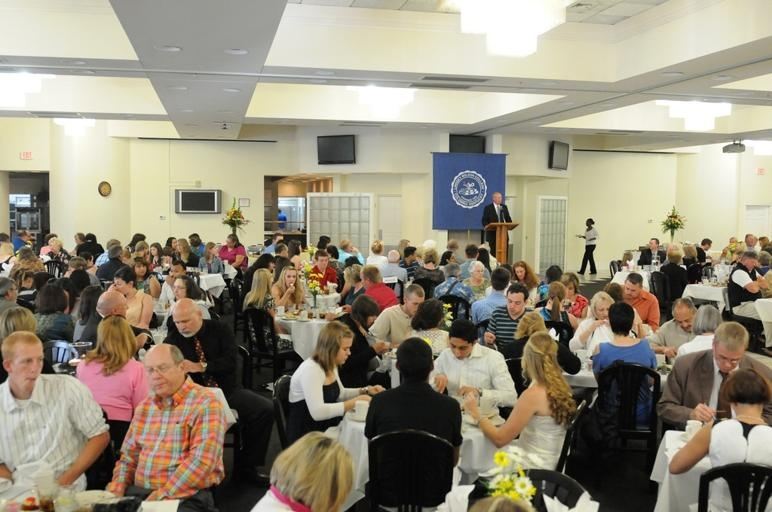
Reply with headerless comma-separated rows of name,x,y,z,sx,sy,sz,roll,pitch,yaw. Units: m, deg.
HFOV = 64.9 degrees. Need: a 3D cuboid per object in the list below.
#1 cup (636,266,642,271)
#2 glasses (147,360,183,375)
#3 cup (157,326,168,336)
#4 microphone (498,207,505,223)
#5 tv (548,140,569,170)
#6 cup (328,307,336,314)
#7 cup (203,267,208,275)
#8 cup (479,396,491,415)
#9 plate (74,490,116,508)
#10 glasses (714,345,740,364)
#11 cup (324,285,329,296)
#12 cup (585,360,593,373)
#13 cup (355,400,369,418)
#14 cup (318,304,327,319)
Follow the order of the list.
cup,5.320,0.259,12.754,0.094,0.092,0.051,0,-7,-4
glasses,-1.481,0.747,4.060,0.226,0.081,0.106,0,3,-21
cup,-2.544,0.852,6.878,0.116,0.099,0.130,1,-4,1
microphone,2.461,-0.882,12.959,0.214,0.301,0.070,6,3,-26
tv,4.430,-2.621,15.648,0.210,0.730,0.817,-2,0,41
cup,-0.696,0.712,7.928,0.067,0.091,0.083,-1,-8,0
cup,-3.467,0.283,11.610,0.147,0.108,0.140,4,-11,1
cup,0.800,1.207,4.882,0.087,0.143,0.097,-6,-5,37
plate,-1.764,1.474,3.690,0.211,0.027,0.232,-1,3,-30
glasses,2.657,0.765,4.715,0.165,0.123,0.200,0,-38,21
cup,-0.920,0.510,9.366,0.097,0.150,0.096,0,-5,0
cup,1.982,1.075,5.918,0.067,0.078,0.091,1,-6,2
cup,-0.192,1.200,4.765,0.097,0.108,0.150,2,0,-18
cup,-0.855,0.742,7.996,0.113,0.122,0.113,1,-3,0
